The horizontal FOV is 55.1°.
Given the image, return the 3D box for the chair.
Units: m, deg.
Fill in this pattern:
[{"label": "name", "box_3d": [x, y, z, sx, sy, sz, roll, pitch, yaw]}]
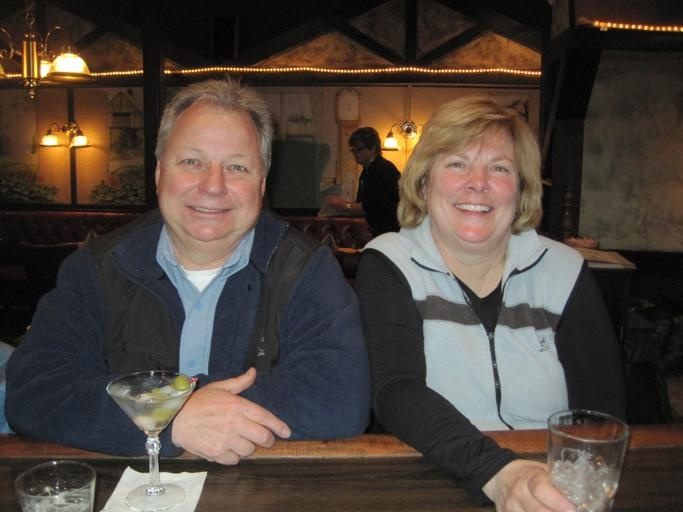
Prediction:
[{"label": "chair", "box_3d": [-1.699, 0.073, 3.790, 0.281, 0.362, 0.295, 3, 23, -3]}]
